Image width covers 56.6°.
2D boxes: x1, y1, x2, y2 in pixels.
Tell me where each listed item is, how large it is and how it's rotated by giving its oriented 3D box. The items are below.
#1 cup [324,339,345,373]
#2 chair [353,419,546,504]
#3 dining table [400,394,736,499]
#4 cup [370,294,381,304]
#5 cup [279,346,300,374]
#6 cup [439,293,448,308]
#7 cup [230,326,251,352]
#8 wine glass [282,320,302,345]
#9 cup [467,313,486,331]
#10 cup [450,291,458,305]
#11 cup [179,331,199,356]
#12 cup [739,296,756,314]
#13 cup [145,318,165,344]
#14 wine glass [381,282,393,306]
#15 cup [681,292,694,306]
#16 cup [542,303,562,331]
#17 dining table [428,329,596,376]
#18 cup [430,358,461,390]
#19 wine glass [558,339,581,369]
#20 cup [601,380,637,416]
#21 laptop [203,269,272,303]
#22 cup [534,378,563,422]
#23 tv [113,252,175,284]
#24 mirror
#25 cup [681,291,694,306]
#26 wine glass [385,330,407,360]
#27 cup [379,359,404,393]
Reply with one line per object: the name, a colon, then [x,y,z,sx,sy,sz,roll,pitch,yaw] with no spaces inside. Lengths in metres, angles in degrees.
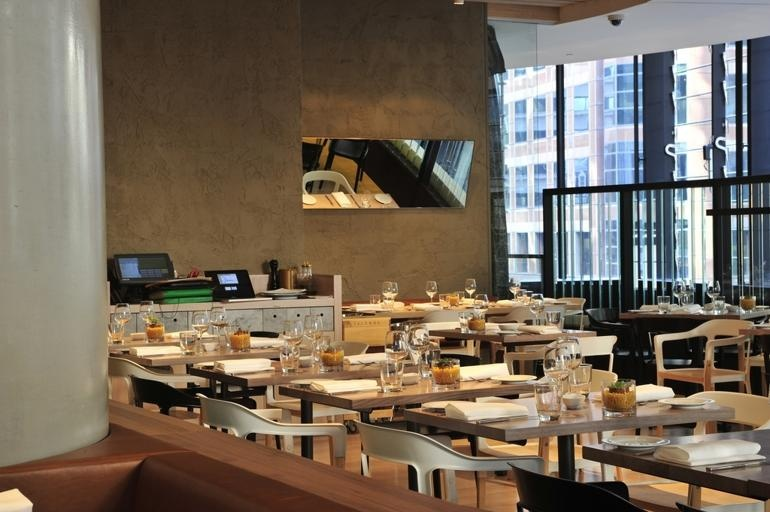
cup: [-0.310,0.609,4.282,0.160,0.184,0.153,0,-4,0]
chair: [0.226,0.805,3.022,0.442,0.315,0.538,-3,3,-30]
dining table: [0.813,0.730,3.184,0.737,0.412,0.706,0,-2,-26]
cup: [-0.105,0.500,8.341,0.106,0.069,0.101,2,-1,0]
cup: [-0.555,0.612,4.206,0.145,0.166,0.137,0,-2,0]
cup: [0.697,0.541,8.566,0.118,0.177,0.118,-1,1,0]
cup: [-1.010,0.589,5.123,0.169,0.164,0.152,0,2,-22]
wine glass: [-0.542,0.448,4.232,0.117,0.133,0.130,-1,0,1]
cup: [0.799,0.569,6.193,0.150,0.130,0.142,1,-8,0]
cup: [0.794,0.493,8.183,0.113,0.117,0.114,0,-6,0]
cup: [-1.354,0.604,4.923,0.147,0.169,0.139,0,-2,0]
cup: [4.105,0.538,8.068,0.186,0.145,0.198,0,-5,0]
cup: [-1.787,0.593,5.600,0.176,0.183,0.167,-1,0,0]
wine glass: [0.046,0.419,8.059,0.093,0.213,0.106,-1,0,-6]
cup: [3.679,0.512,8.712,0.186,0.192,0.179,0,-4,0]
cup: [1.501,0.551,6.429,0.223,0.314,0.213,1,-4,0]
dining table: [1.086,0.724,6.279,0.941,0.627,0.874,-1,-1,-36]
cup: [0.321,0.617,3.777,0.149,0.146,0.144,1,4,0]
wine glass: [0.910,0.467,3.476,0.133,0.139,0.118,-2,-2,27]
cup: [1.023,0.631,3.187,0.142,0.143,0.160,-4,-9,35]
laptop: [-1.610,0.287,7.922,0.766,0.292,0.484,0,17,-21]
cup: [0.711,0.621,3.108,0.101,0.130,0.153,-1,0,19]
tv: [-2.587,0.127,7.694,0.643,0.318,0.343,-1,0,-20]
mirror: [0.122,-1.205,9.345,2.044,0.800,0.040,9,-6,19]
cup: [3.678,0.510,8.708,0.189,0.195,0.182,0,-4,0]
wine glass: [0.068,0.478,3.849,0.137,0.164,0.126,0,-1,-16]
cup: [0.037,0.614,3.697,0.152,0.159,0.143,0,0,0]
